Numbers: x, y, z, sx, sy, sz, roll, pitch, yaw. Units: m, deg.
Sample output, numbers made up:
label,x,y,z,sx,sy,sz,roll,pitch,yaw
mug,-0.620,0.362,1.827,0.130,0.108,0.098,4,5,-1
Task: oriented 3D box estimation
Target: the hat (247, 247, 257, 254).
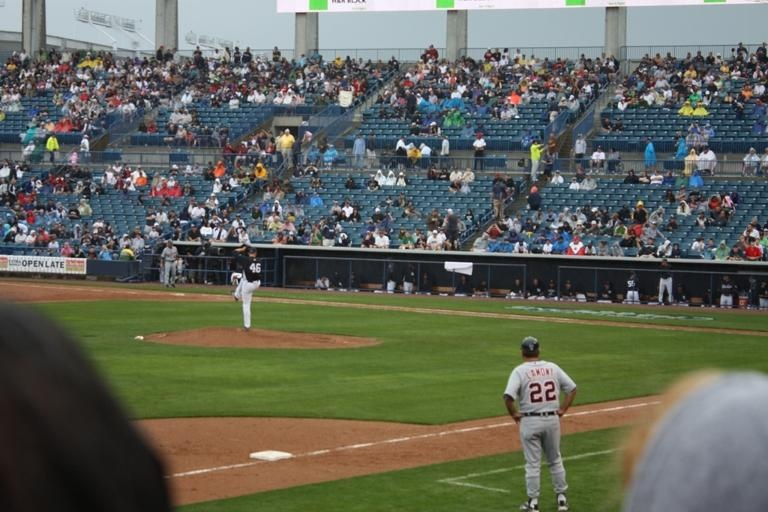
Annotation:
label,x,y,z,sx,sy,sz,roll,pitch,yaw
hat,-5.902,-0.142,68.082,0.268,0.331,0.332,8,-27,9
